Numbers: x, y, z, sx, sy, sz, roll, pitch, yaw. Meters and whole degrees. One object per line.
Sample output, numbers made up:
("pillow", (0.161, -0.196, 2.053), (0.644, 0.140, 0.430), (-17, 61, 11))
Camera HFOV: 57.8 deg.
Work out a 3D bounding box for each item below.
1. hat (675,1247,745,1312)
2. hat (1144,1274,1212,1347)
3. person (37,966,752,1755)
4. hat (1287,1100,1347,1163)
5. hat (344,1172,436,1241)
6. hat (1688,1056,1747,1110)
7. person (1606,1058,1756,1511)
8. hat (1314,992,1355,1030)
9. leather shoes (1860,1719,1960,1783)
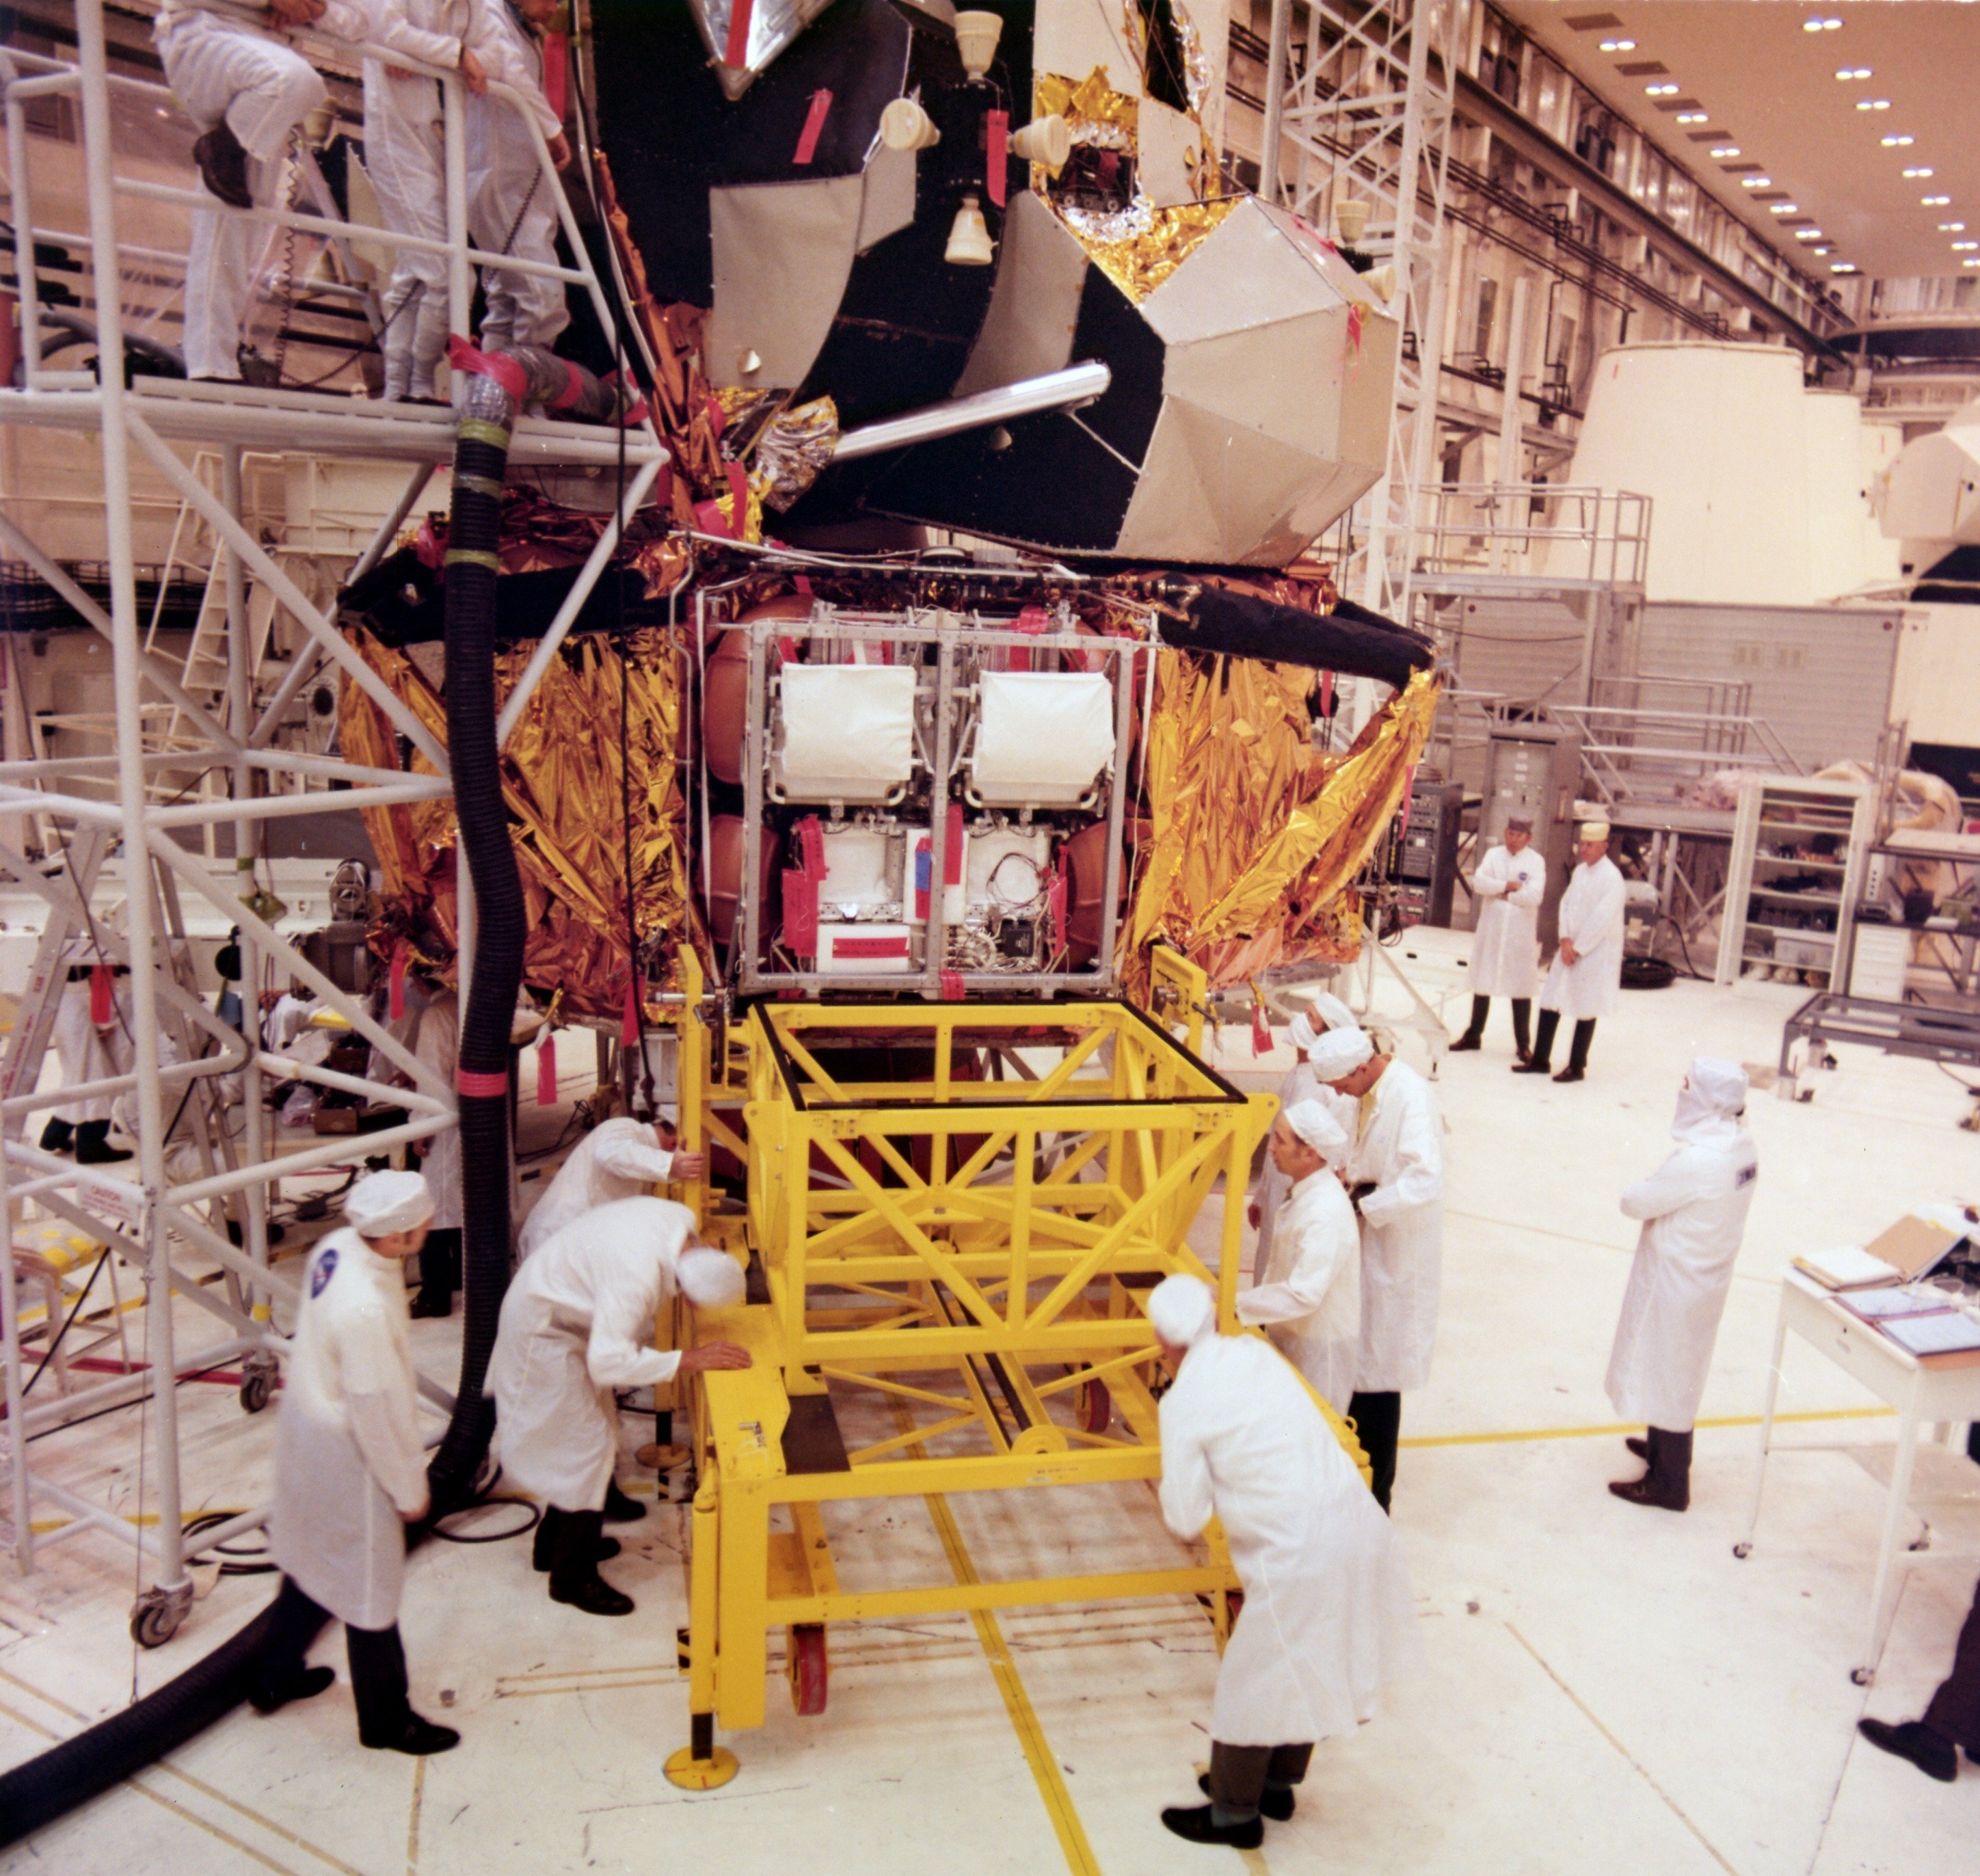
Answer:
("hat", (-0.875, 1.058, 5.583), (0.155, 0.192, 0.212), (2, 10, -1))
("hat", (0.535, 1.059, 5.142), (0.156, 0.195, 0.202), (2, 19, 2))
("person", (-1.648, 1.513, 5.439), (1.727, 1.636, 0.761), (-8, 17, -38))
("hat", (1.101, 0.660, 6.072), (0.210, 0.237, 0.195), (5, 14, 9))
("hat", (-1.755, 0.770, 5.253), (0.160, 0.115, 0.212), (2, 18, 3))
("hat", (2.753, 0.549, 6.765), (0.157, 0.189, 0.198), (-3, 8, 1))
("person", (2.623, 1.320, 6.826), (0.428, 1.687, 0.482), (8, 15, 23))
("hat", (1.457, 0.289, 7.627), (0.152, 0.042, 0.143), (-9, 32, -39))
("leather shoes", (2.817, 2.445, 5.506), (0.097, 0.118, 0.287), (-31, 44, -22))
